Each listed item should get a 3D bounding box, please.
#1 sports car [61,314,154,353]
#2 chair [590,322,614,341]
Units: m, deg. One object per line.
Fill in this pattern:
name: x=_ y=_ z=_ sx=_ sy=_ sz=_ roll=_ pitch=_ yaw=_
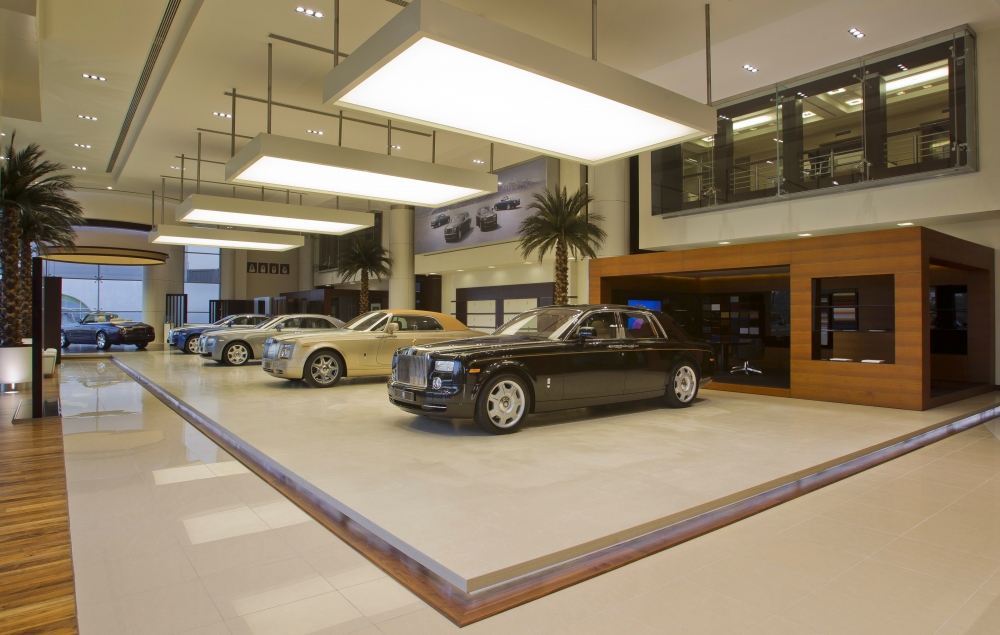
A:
sports car: x=-16.817 y=0.682 z=24.746 sx=4.394 sy=1.323 sz=1.936 roll=-3 pitch=-4 yaw=32
chair: x=1.918 y=0.256 z=10.779 sx=0.374 sy=0.329 sz=0.335 roll=3 pitch=-10 yaw=-11
